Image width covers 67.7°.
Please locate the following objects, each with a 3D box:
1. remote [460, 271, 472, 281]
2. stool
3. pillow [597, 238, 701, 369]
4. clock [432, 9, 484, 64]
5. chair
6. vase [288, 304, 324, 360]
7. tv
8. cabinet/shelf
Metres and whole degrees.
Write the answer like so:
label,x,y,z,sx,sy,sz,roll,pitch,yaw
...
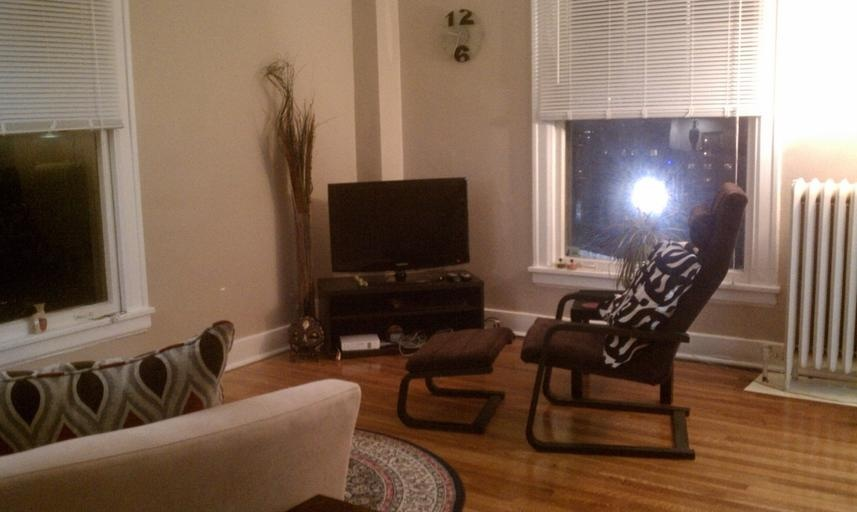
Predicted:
label,x,y,z,sx,sy,sz,roll,pitch,yaw
remote,0.320,0.165,5.411,0.075,0.044,0.074,6,13,25
stool,0.176,0.766,4.209,0.686,0.558,0.568,3,13,13
pillow,1.336,0.287,3.827,0.501,0.698,0.428,5,14,19
clock,0.285,-1.880,5.498,0.377,0.453,0.094,8,15,30
chair,1.268,0.370,4.090,1.321,1.494,0.914,0,7,11
vase,-0.981,0.623,5.181,0.280,0.347,0.119,-2,3,2
tv,-0.244,-0.225,5.401,1.219,0.789,0.105,-2,13,6
cabinet/shelf,-0.036,0.392,5.307,1.564,0.655,0.545,-5,19,33
